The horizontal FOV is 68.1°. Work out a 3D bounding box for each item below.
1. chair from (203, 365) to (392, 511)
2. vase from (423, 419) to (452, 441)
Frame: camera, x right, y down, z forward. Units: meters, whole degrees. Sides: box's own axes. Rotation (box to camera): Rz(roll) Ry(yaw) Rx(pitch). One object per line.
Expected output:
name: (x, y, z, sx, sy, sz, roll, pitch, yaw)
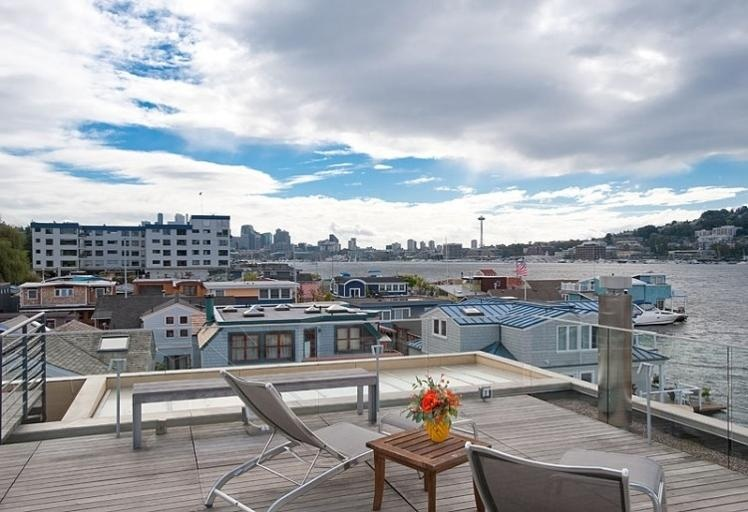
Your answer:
chair: (-0.744, 1.810, 5.728, 1.867, 1.081, 1.081, -1, 2, -44)
vase: (0.661, 1.782, 5.704, 0.243, 0.174, 0.230, 3, -3, -15)
